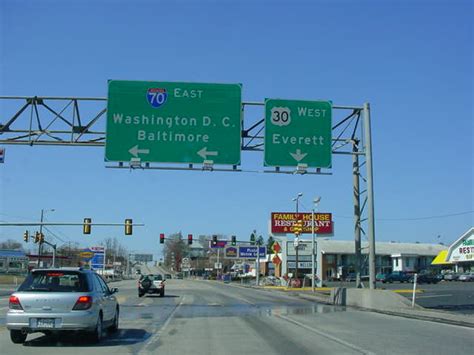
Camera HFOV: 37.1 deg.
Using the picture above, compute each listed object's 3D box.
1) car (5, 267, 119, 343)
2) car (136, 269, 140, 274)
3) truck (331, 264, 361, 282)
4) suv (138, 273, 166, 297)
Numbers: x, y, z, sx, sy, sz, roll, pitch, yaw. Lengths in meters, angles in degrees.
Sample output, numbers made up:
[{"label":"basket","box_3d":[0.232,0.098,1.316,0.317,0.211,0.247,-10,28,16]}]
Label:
[{"label":"car","box_3d":[-7.080,5.171,28.705,4.176,2.992,2.304,3,-10,-18]},{"label":"car","box_3d":[-29.647,28.274,213.077,1.789,1.371,2.510,3,-10,5]},{"label":"truck","box_3d":[14.291,12.771,95.074,2.936,2.359,6.166,-1,-10,7]},{"label":"suv","box_3d":[-6.303,7.972,52.837,1.314,1.142,2.268,1,-1,-2]}]
